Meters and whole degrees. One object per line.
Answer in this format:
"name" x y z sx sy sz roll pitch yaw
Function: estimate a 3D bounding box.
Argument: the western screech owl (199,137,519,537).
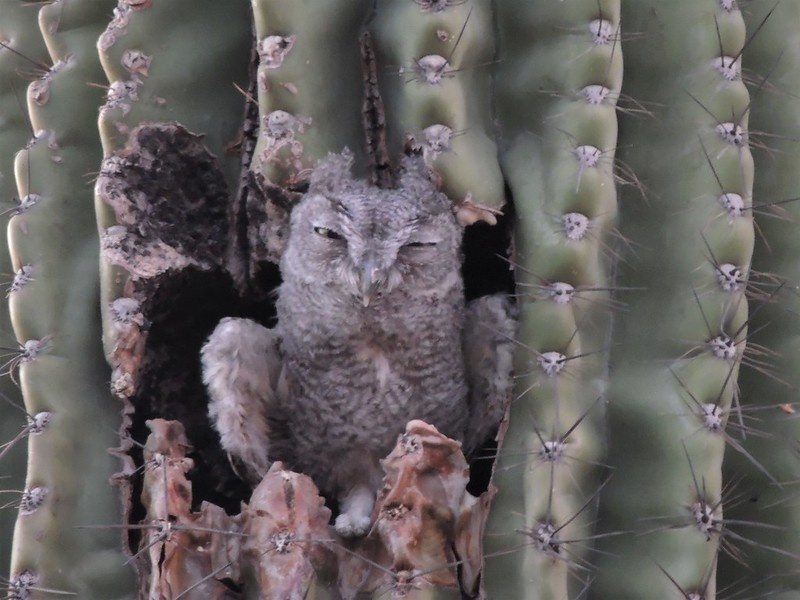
"western screech owl" -0.066 0.151 5.347 1.308 0.970 1.395 2 75 6
